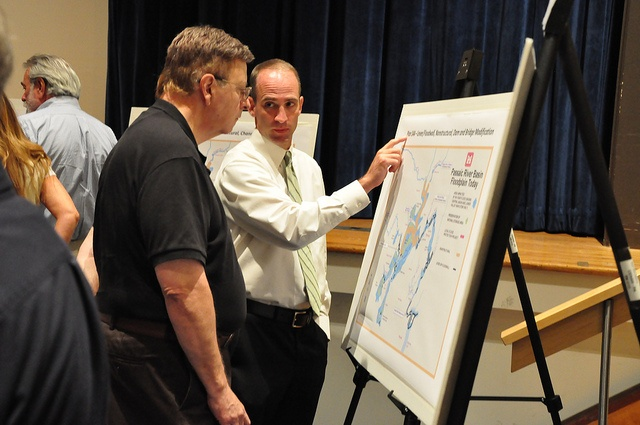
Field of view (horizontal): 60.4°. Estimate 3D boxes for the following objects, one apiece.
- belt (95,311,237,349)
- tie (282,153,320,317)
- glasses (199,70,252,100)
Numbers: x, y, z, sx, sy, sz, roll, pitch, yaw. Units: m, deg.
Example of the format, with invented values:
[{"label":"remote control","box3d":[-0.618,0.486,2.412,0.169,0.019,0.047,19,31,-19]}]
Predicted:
[{"label":"belt","box3d":[-0.520,0.382,1.791,0.228,0.082,0.186,10,-6,-9]},{"label":"tie","box3d":[-0.085,0.122,2.321,0.072,0.747,0.032,-6,-16,-41]},{"label":"glasses","box3d":[-0.321,-0.462,1.986,0.093,0.031,0.097,30,1,4]}]
